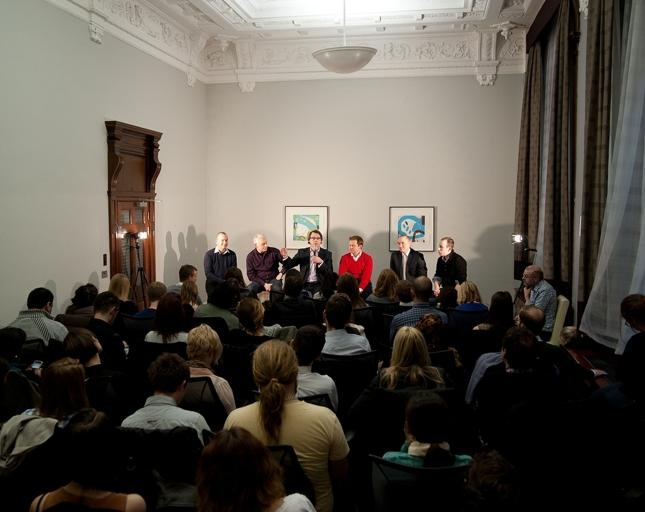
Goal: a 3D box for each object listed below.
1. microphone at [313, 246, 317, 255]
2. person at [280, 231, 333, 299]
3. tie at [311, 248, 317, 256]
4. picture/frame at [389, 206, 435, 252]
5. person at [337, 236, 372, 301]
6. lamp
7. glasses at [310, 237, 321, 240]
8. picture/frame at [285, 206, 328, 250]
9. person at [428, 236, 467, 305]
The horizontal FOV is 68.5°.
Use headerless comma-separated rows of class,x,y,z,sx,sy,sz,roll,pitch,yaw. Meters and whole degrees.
microphone,-0.123,-0.084,8.093,0.067,0.103,0.039,2,40,2
person,-0.229,0.367,8.097,0.967,1.616,0.709,-1,3,-38
tie,-0.138,-0.069,8.109,0.109,0.079,0.169,0,2,-3
picture/frame,1.792,-0.558,9.255,0.748,0.869,0.088,1,-1,5
person,0.578,0.177,8.183,0.515,1.031,0.647,6,19,21
lamp,0.384,-3.282,6.841,0.794,1.368,1.608,1,6,9
glasses,-0.119,-0.302,7.974,0.151,0.046,0.039,-1,6,-11
picture/frame,-0.286,-0.600,9.428,0.745,0.866,0.058,1,6,6
person,2.040,0.220,7.826,0.616,0.986,0.539,7,-9,-44
